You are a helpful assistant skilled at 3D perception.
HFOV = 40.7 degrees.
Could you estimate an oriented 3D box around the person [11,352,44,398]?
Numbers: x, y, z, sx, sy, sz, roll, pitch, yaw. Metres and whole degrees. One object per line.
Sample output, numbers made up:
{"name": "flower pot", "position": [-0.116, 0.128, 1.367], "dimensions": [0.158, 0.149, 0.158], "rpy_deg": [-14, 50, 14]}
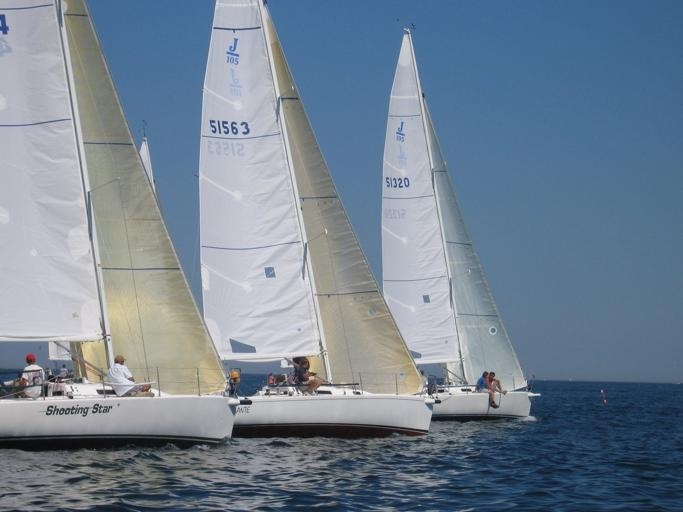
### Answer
{"name": "person", "position": [-6.013, 2.292, 17.607], "dimensions": [0.565, 0.858, 0.923], "rpy_deg": [-2, -8, -19]}

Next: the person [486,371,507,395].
{"name": "person", "position": [4.101, 3.430, 25.007], "dimensions": [0.697, 0.723, 0.410], "rpy_deg": [0, -2, -3]}

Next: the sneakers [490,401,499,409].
{"name": "sneakers", "position": [4.061, 3.976, 24.607], "dimensions": [0.326, 0.230, 0.109], "rpy_deg": [-2, 3, 17]}

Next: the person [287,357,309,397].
{"name": "person", "position": [-0.935, 2.812, 21.034], "dimensions": [0.365, 1.186, 0.380], "rpy_deg": [-16, 40, -25]}

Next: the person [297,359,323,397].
{"name": "person", "position": [-0.723, 2.644, 20.653], "dimensions": [0.549, 0.852, 1.264], "rpy_deg": [-4, -8, -3]}

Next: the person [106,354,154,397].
{"name": "person", "position": [-4.158, 2.320, 17.867], "dimensions": [0.788, 0.788, 0.598], "rpy_deg": [-1, -9, -22]}
